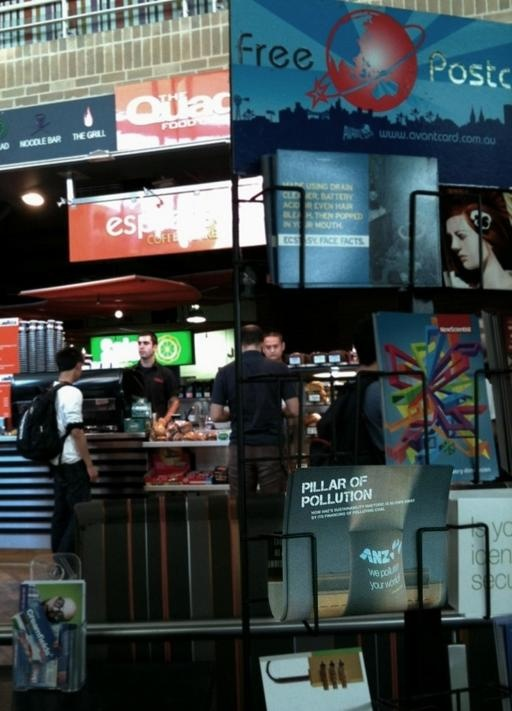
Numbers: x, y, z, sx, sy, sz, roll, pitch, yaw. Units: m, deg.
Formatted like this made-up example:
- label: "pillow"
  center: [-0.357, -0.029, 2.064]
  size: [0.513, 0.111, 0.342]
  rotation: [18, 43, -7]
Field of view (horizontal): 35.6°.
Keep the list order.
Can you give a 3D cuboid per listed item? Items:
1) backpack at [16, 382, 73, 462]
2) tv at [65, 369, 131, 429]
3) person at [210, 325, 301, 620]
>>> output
- label: "backpack"
  center: [-1.219, 0.387, 4.560]
  size: [0.263, 0.446, 0.344]
  rotation: [4, -9, -31]
- label: "tv"
  center: [-1.098, 0.320, 5.588]
  size: [0.419, 0.380, 0.312]
  rotation: [-2, -11, 4]
- label: "person"
  center: [-0.006, 0.419, 3.841]
  size: [0.387, 1.176, 0.351]
  rotation: [1, 15, 6]
